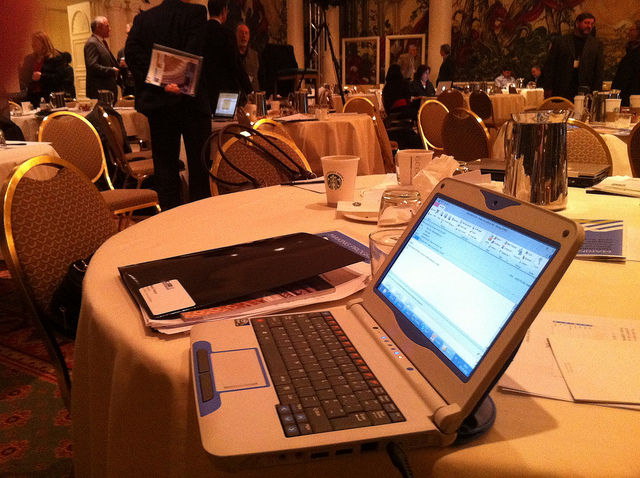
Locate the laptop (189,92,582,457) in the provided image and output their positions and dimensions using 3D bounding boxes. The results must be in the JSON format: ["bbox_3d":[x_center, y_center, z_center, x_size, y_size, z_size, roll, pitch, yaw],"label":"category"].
[{"bbox_3d":[0.048,0.076,0.565,0.359,0.246,0.374,5,23,-19],"label":"laptop"}]

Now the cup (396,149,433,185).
[{"bbox_3d":[0.244,-0.187,1.264,0.100,0.082,0.088,0,16,12],"label":"cup"}]

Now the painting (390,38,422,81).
[{"bbox_3d":[2.285,-4.799,12.826,1.046,1.503,0.113,4,50,13],"label":"painting"}]

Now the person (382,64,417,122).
[{"bbox_3d":[1.049,-1.870,6.380,0.463,0.879,0.395,-2,1,-44],"label":"person"}]

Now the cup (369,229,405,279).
[{"bbox_3d":[0.096,0.017,0.787,0.069,0.074,0.063,1,14,0],"label":"cup"}]

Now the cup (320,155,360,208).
[{"bbox_3d":[0.054,-0.157,1.301,0.097,0.133,0.114,3,18,4],"label":"cup"}]

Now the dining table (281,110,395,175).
[{"bbox_3d":[0.172,-0.699,3.812,0.760,0.415,0.699,-20,13,-39],"label":"dining table"}]

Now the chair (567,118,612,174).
[{"bbox_3d":[1.256,-0.391,2.308,0.193,0.323,0.167,-1,3,-32],"label":"chair"}]

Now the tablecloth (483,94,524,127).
[{"bbox_3d":[2.811,-2.013,7.247,0.529,0.215,0.563,-18,17,-36],"label":"tablecloth"}]

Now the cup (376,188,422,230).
[{"bbox_3d":[0.166,-0.067,1.019,0.079,0.089,0.079,3,14,-1],"label":"cup"}]

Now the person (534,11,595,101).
[{"bbox_3d":[2.852,-2.043,5.482,0.445,0.926,0.523,-19,29,-40],"label":"person"}]
